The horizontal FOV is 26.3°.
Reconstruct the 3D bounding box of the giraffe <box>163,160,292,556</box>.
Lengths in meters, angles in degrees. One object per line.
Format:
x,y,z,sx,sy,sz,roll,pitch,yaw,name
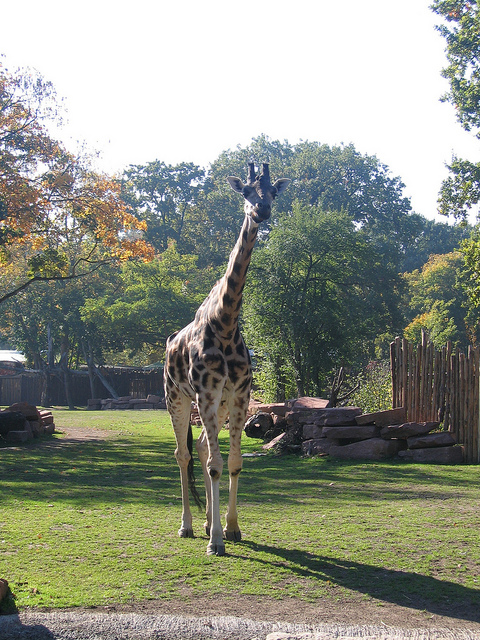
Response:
-0.199,0.392,11.447,1.010,4.125,2.174,1,-5,-12,giraffe
